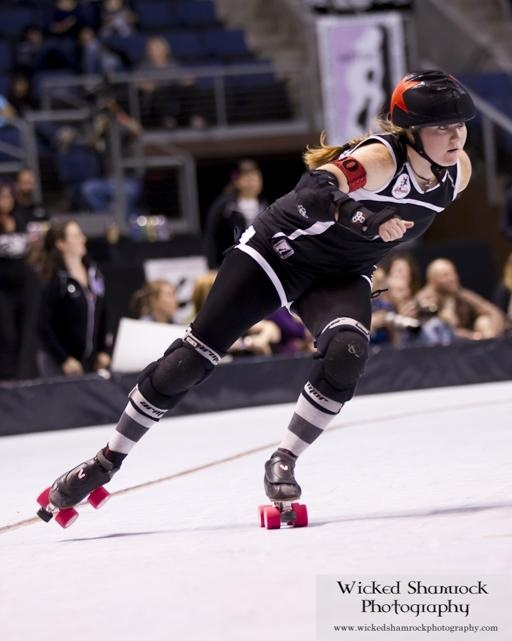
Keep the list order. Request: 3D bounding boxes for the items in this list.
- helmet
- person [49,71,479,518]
[{"bbox_3d":[0.496,-0.628,2.082,0.228,0.164,0.210,-3,16,10],"label":"helmet"},{"bbox_3d":[0.053,-0.080,2.192,1.180,1.213,0.720,-2,18,13],"label":"person"}]
